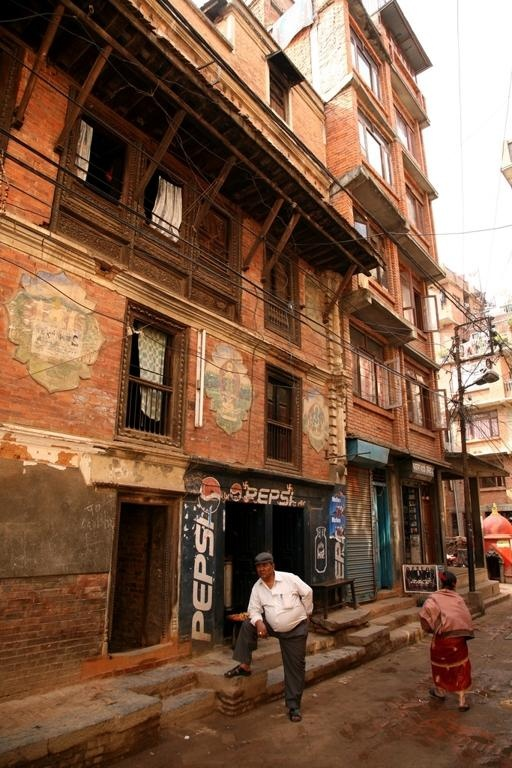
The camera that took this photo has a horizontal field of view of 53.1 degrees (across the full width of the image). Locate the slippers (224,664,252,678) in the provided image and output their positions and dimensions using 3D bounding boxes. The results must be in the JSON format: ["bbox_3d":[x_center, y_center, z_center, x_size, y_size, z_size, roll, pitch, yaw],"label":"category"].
[{"bbox_3d":[-0.205,3.197,5.687,0.303,0.138,0.123,6,-24,0],"label":"slippers"}]

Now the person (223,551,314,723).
[{"bbox_3d":[0.184,2.683,5.519,0.750,1.638,0.866,9,-19,-26],"label":"person"}]

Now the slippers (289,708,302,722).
[{"bbox_3d":[0.402,3.394,5.262,0.086,0.129,0.178,1,-21,-2],"label":"slippers"}]

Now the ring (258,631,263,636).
[{"bbox_3d":[0.038,2.448,5.035,0.042,0.015,0.044,-5,-13,-1],"label":"ring"}]

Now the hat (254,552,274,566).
[{"bbox_3d":[0.093,1.854,5.557,0.186,0.115,0.254,-9,-25,14],"label":"hat"}]

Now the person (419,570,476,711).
[{"bbox_3d":[2.209,2.941,5.983,0.534,1.424,0.517,-2,-4,18],"label":"person"}]
